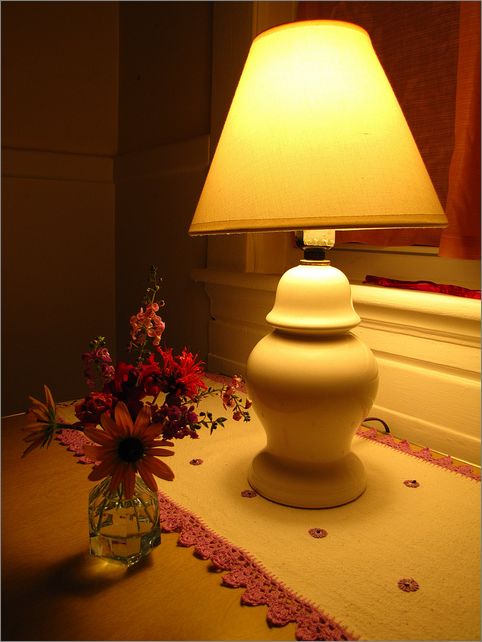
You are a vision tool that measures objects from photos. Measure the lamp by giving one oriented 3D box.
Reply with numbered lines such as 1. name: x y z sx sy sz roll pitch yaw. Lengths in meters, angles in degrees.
1. lamp: 0.080 -0.042 0.559 0.242 0.571 0.241 -3 8 -28

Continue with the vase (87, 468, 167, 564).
1. vase: -0.124 0.198 0.520 0.083 0.119 0.077 -2 -8 -10
